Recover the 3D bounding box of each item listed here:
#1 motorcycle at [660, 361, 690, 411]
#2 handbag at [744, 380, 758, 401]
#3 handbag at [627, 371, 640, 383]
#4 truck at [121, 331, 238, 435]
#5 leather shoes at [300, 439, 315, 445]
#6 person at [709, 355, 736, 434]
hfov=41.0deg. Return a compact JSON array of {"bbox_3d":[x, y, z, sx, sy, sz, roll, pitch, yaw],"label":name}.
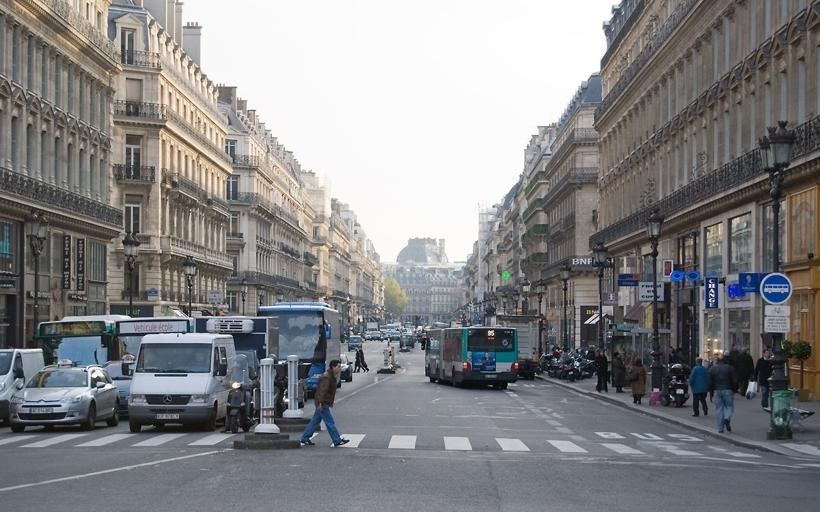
[{"bbox_3d":[11.673,5.665,47.978,1.181,1.975,1.743,2,-13,-14],"label":"motorcycle"},{"bbox_3d":[15.160,5.952,48.817,0.313,0.895,0.876,12,5,17],"label":"handbag"},{"bbox_3d":[10.025,5.373,49.061,0.224,0.472,0.496,34,-41,-15],"label":"handbag"},{"bbox_3d":[-8.089,4.617,38.974,2.912,3.613,4.904,0,0,2],"label":"truck"},{"bbox_3d":[-3.195,5.846,34.565,0.476,0.211,0.166,-1,-1,-3],"label":"leather shoes"},{"bbox_3d":[10.955,4.809,38.559,0.682,2.640,0.580,-1,0,-2],"label":"person"}]
